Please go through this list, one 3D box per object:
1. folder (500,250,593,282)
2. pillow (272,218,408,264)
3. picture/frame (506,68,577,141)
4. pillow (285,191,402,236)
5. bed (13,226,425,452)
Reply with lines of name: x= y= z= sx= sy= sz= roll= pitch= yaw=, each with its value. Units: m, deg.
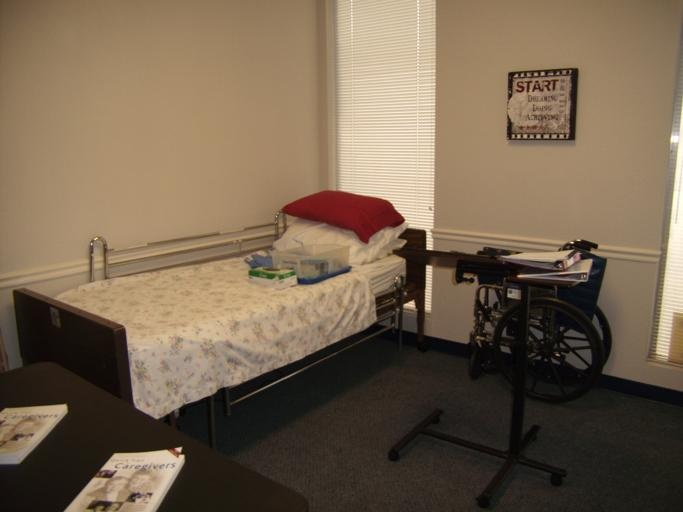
folder: x=1.058 y=0.053 z=2.576 sx=0.391 sy=0.128 sz=0.365 roll=-3 pitch=10 yaw=-25
pillow: x=0.045 y=-0.225 z=4.255 sx=1.022 sy=0.356 sz=0.794 roll=9 pitch=12 yaw=31
picture/frame: x=1.484 y=-1.127 z=3.650 sx=0.501 sy=0.519 sz=0.048 roll=7 pitch=13 yaw=35
pillow: x=0.217 y=-0.371 z=4.391 sx=1.045 sy=0.269 sz=0.978 roll=10 pitch=-2 yaw=28
bed: x=-1.255 y=0.511 z=4.562 sx=3.258 sy=1.309 sz=3.094 roll=-12 pitch=18 yaw=-43
